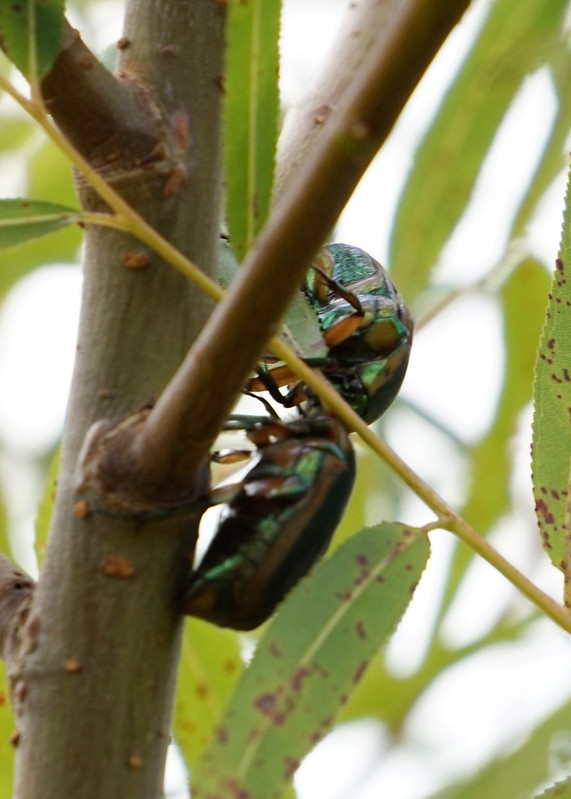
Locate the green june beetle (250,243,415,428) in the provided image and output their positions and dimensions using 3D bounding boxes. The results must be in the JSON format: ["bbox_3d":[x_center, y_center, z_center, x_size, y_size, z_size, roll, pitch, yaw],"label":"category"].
[{"bbox_3d":[0.043,-0.038,0.904,0.084,0.108,0.118,8,-18,-6],"label":"green june beetle"}]

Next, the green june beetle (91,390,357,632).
[{"bbox_3d":[-0.024,0.045,0.682,0.100,0.120,0.099,-31,-37,19],"label":"green june beetle"}]
